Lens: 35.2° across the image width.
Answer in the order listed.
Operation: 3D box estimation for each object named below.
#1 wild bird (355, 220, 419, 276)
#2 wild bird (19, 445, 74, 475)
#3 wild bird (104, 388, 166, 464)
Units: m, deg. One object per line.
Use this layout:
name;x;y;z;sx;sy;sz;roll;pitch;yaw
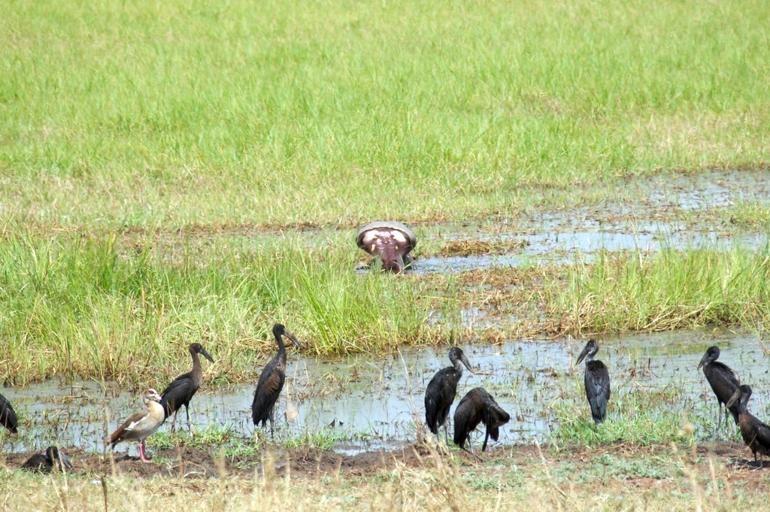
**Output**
wild bird;-0.004;-0.091;24.508;1.164;1.310;1.117;14;71;7
wild bird;-5.074;3.143;18.132;0.692;0.386;0.375;-13;95;0
wild bird;-3.692;2.577;18.355;1.113;0.682;1.481;-3;95;-17
